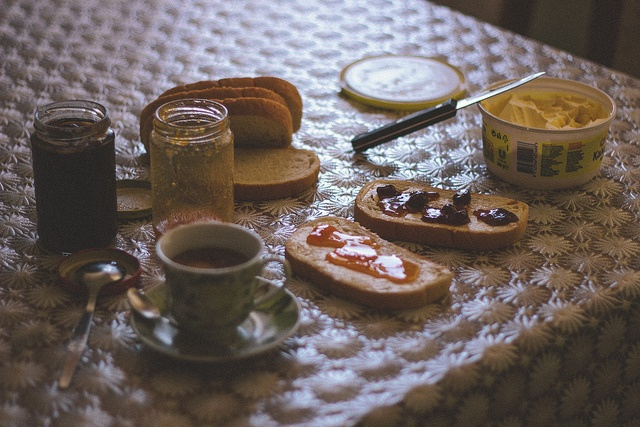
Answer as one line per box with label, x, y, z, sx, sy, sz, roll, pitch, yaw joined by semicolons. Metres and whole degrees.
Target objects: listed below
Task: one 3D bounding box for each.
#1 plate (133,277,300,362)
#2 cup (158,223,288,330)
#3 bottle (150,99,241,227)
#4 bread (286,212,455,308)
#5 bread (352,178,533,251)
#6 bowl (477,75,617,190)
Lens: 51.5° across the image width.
plate;-0.207;0.137;1.263;0.228;0.134;0.201;12;20;26
cup;-0.180;0.126;1.286;0.264;0.145;0.191;2;29;-5
bottle;-0.282;-0.102;1.437;0.188;0.262;0.162;-4;35;-4
bread;0.083;0.108;1.394;0.333;0.082;0.184;23;38;34
bread;0.265;-0.024;1.482;0.359;0.072;0.165;9;31;13
bowl;0.542;-0.174;1.665;0.366;0.157;0.308;-3;34;1
